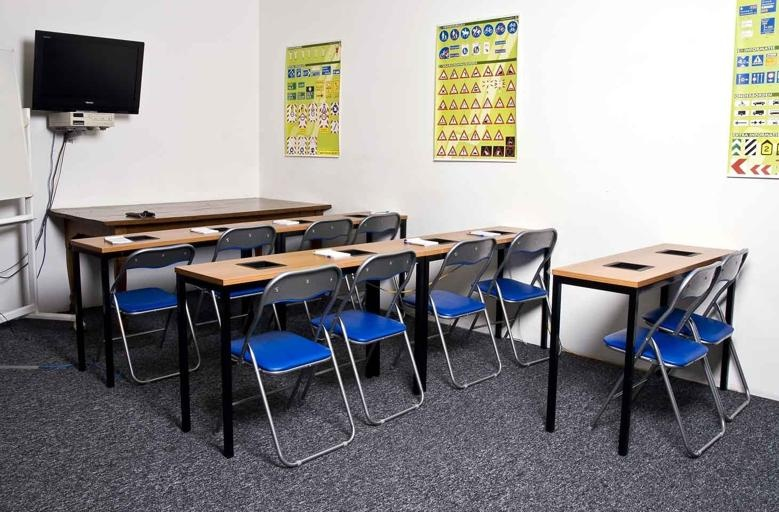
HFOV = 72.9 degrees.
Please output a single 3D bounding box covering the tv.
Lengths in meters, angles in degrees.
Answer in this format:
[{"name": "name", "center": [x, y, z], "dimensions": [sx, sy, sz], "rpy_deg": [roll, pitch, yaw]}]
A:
[{"name": "tv", "center": [-2.942, -1.778, 5.063], "dimensions": [0.964, 0.669, 0.095], "rpy_deg": [-6, 18, -43]}]
